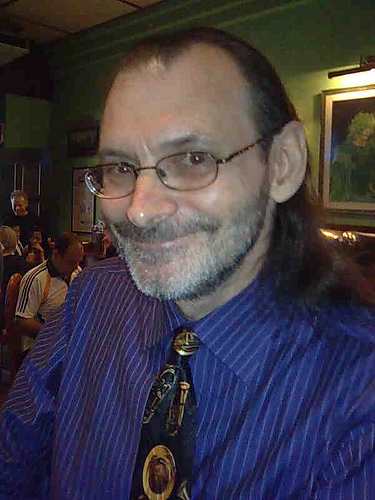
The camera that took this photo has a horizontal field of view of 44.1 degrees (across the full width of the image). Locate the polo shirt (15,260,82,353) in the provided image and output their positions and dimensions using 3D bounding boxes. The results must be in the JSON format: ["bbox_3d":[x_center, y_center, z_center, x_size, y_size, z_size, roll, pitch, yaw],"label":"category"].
[{"bbox_3d":[-0.595,0.233,1.938,0.148,0.369,0.398,11,16,18],"label":"polo shirt"}]

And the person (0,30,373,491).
[{"bbox_3d":[0.000,0.046,0.968,0.793,0.941,0.464,6,9,24],"label":"person"}]

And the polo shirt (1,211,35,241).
[{"bbox_3d":[-1.873,-0.269,5.181,0.327,0.309,0.257,0,9,-19],"label":"polo shirt"}]
